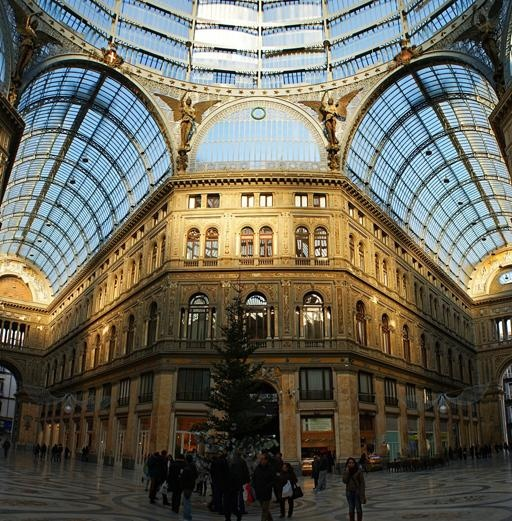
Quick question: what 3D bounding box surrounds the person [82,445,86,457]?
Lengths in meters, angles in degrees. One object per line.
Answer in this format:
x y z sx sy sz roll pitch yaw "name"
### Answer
-15.349 17.259 40.195 0.305 0.764 0.797 8 -24 -21 "person"
